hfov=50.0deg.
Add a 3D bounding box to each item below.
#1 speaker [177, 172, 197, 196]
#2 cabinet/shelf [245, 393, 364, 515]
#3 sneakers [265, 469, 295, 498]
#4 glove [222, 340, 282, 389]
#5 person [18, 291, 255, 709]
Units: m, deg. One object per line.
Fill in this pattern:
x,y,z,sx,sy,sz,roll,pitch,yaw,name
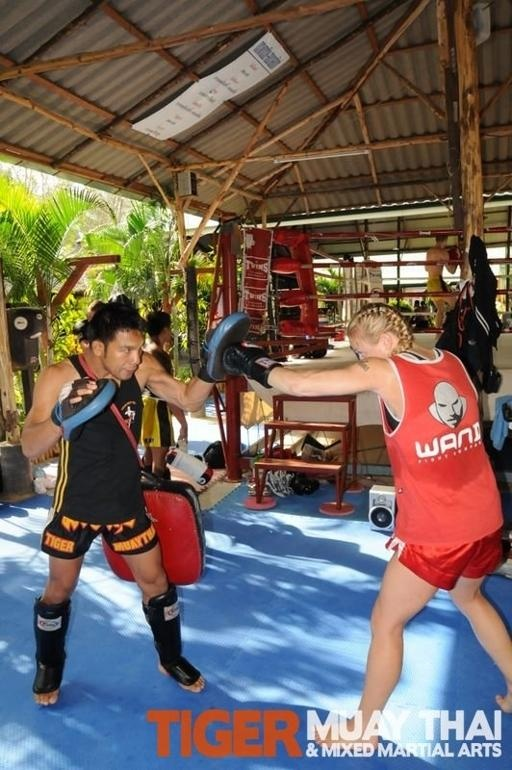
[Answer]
-0.930,-2.665,7.271,0.246,0.334,0.206,-2,4,0,speaker
0.421,0.543,4.383,0.968,0.726,0.860,1,5,18,cabinet/shelf
0.185,0.787,4.445,0.174,0.229,0.086,0,-8,16,sneakers
-0.017,-0.053,1.588,0.161,0.065,0.105,30,16,34,glove
-0.374,0.422,1.755,0.697,1.294,0.504,-3,14,-28,person
